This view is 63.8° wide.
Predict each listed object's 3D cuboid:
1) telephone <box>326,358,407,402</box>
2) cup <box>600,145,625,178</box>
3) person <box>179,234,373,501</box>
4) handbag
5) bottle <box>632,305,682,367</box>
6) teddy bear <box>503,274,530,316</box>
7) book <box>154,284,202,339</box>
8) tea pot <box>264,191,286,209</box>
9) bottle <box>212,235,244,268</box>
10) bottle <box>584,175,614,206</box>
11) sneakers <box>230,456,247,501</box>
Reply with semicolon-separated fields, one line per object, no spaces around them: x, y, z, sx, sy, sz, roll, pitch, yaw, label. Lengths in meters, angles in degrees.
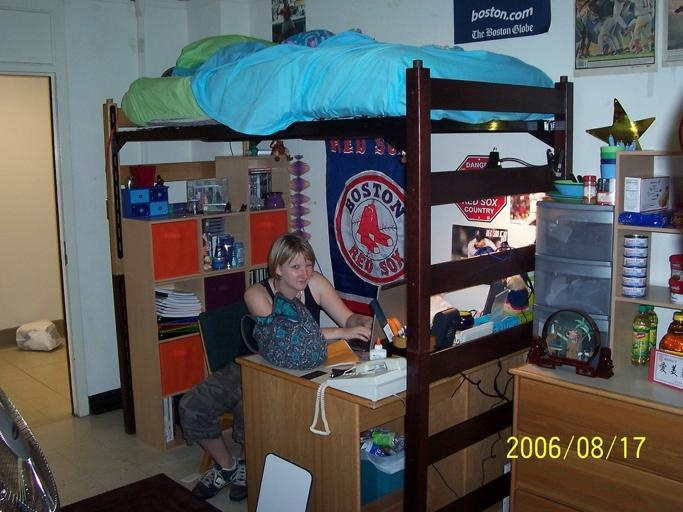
0.134;0.590;2.744;0.324;0.176;0.360;3;0;10;telephone
1.409;-0.495;2.888;0.135;0.234;0.153;3;1;25;cup
-0.390;0.770;3.683;1.245;1.751;0.927;5;5;-11;person
-0.321;0.418;2.979;0.421;0.465;0.280;9;13;27;handbag
1.616;0.414;2.811;0.291;0.306;0.107;1;-3;24;bottle
1.069;0.225;3.353;0.124;0.245;0.174;7;15;9;teddy bear
-1.260;0.434;4.157;0.333;0.157;0.428;-6;13;-38;book
-0.556;-0.466;4.602;0.133;0.121;0.134;-1;6;0;tea pot
-0.923;-0.027;4.408;0.121;0.250;0.239;2;0;45;bottle
1.368;-0.333;2.907;0.160;0.169;0.095;9;10;44;bottle
-0.676;1.498;3.713;0.127;0.179;0.397;7;-3;-6;sneakers
